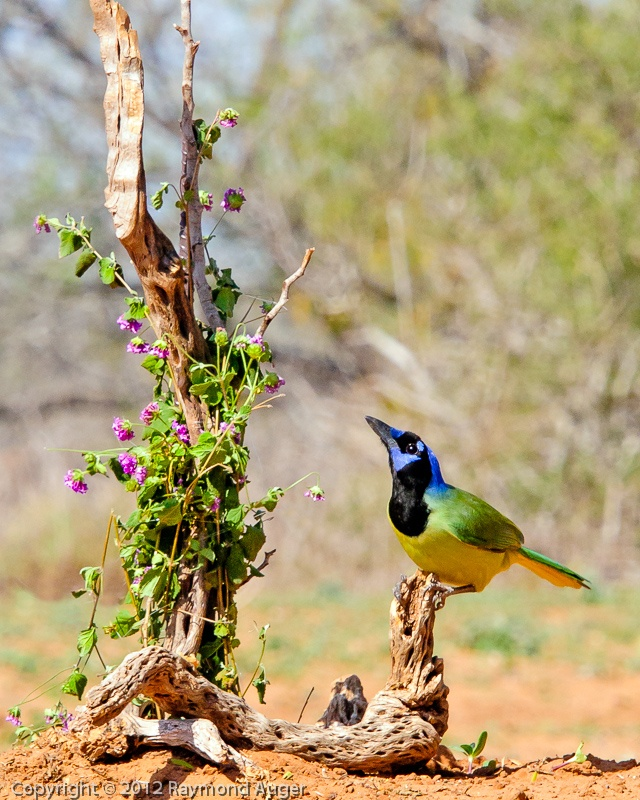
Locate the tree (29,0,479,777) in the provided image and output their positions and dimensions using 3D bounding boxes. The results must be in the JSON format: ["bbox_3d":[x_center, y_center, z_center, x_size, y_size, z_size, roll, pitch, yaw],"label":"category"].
[{"bbox_3d":[-0.361,-0.089,6.473,1.341,3.352,2.813,-11,-48,20],"label":"tree"}]
